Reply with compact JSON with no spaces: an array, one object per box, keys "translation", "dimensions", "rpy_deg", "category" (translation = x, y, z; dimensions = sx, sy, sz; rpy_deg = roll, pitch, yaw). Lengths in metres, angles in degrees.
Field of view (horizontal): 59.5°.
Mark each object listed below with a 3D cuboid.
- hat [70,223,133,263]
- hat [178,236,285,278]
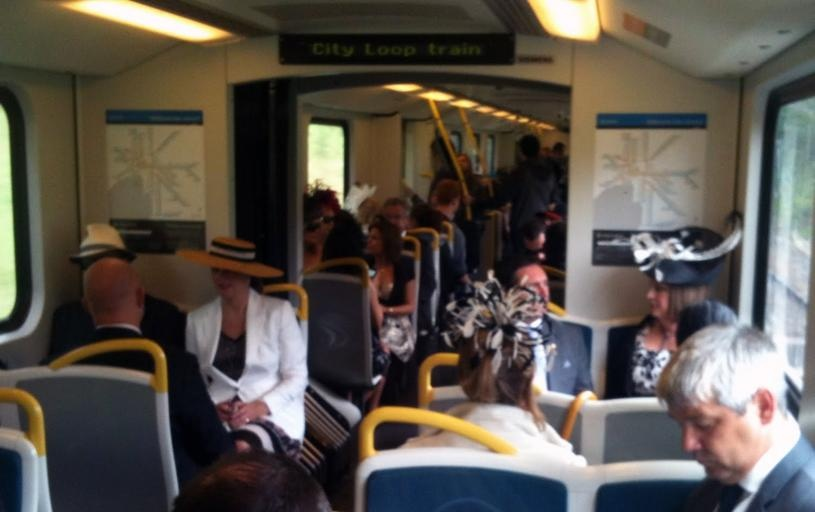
[{"translation":[-1.846,-0.080,4.303],"dimensions":[0.269,0.117,0.302],"rpy_deg":[1,-1,10],"category":"hat"},{"translation":[-0.969,-0.011,3.954],"dimensions":[0.510,0.115,0.548],"rpy_deg":[-6,-21,45],"category":"hat"}]
